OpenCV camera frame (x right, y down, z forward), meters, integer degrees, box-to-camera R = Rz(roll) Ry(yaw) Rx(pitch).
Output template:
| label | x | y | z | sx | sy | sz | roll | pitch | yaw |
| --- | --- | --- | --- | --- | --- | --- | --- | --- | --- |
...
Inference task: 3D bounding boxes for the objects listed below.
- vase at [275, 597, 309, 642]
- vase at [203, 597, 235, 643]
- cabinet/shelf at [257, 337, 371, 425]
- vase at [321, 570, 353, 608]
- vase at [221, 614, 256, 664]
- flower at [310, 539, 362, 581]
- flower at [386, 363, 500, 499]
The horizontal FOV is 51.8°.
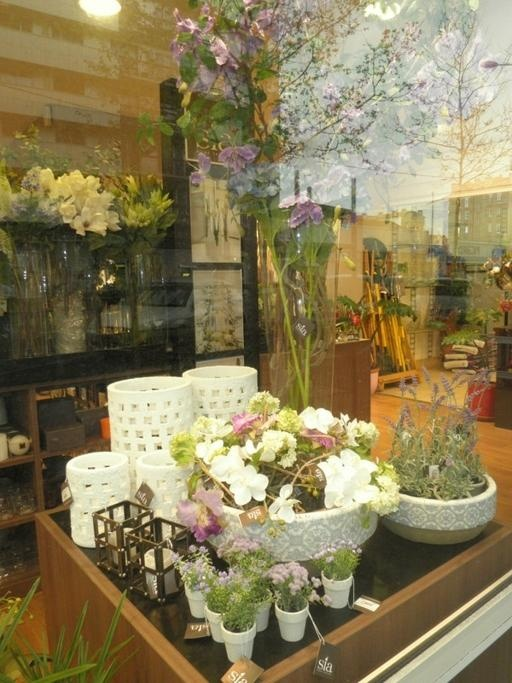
| label | x | y | z | sx | sy | sz | roll | pitch | yaw |
| --- | --- | --- | --- | --- | --- | --- | --- | --- | --- |
| vase | 0.056 | 0.460 | 0.890 | 0.063 | 0.054 | 0.064 | 0 | -1 | -4 |
| vase | -0.061 | 0.466 | 0.899 | 0.065 | 0.065 | 0.062 | 0 | -2 | 4 |
| cabinet/shelf | 0.229 | 0.252 | 2.494 | 0.549 | 0.472 | 0.314 | 6 | -11 | -38 |
| vase | 0.152 | 0.451 | 0.991 | 0.069 | 0.055 | 0.063 | 1 | 2 | 24 |
| vase | -0.028 | 0.462 | 0.832 | 0.061 | 0.061 | 0.059 | 0 | -6 | -6 |
| flower | 0.155 | 0.386 | 0.965 | 0.076 | 0.051 | 0.077 | -1 | -4 | 7 |
| flower | 0.488 | 0.267 | 1.386 | 0.199 | 0.245 | 0.171 | 5 | 4 | 35 |
